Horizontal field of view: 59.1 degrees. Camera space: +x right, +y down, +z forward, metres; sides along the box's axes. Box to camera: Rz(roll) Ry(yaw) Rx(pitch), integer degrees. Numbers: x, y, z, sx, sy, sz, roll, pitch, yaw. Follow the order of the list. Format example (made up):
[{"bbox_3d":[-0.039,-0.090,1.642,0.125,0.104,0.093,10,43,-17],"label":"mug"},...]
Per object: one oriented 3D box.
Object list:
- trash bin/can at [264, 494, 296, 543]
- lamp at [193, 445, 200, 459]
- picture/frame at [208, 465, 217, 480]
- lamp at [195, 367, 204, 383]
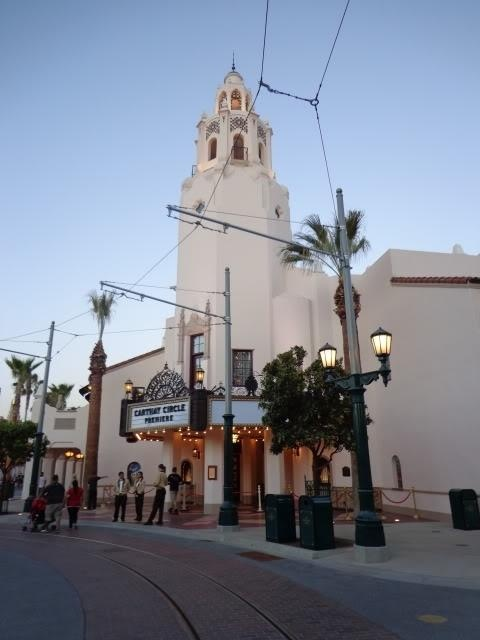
[{"bbox_3d":[0.969,4.886,10.412,0.728,1.093,0.684,-2,-16,5],"label":"trash bin/can"},{"bbox_3d":[-3.029,9.157,29.225,0.599,0.829,0.272,-15,-21,40],"label":"lamp"},{"bbox_3d":[-1.455,7.674,21.214,0.578,0.880,0.107,-1,-12,4],"label":"picture/frame"},{"bbox_3d":[-1.979,2.711,20.472,0.315,0.754,0.822,2,-17,-10],"label":"lamp"}]
